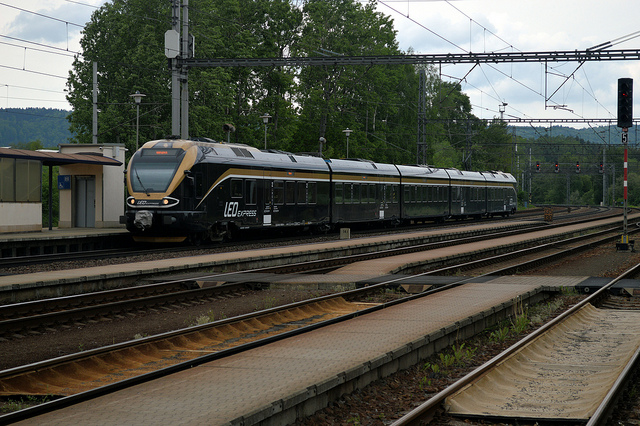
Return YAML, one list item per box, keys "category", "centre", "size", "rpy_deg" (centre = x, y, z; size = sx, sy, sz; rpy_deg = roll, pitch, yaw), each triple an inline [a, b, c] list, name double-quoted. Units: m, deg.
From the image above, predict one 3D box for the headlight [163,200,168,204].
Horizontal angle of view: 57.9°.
- category: "headlight"
  centre: [-6.484, -0.474, 24.471]
  size: [0.157, 0.159, 0.034]
  rpy_deg: [0, 3, 11]

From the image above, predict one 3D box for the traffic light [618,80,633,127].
- category: "traffic light"
  centre: [12.426, -4.553, 23.874]
  size: [0.497, 1.958, 0.506]
  rpy_deg: [1, 3, 22]
